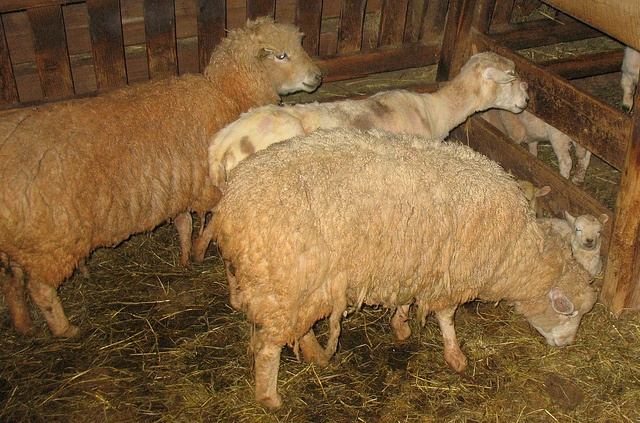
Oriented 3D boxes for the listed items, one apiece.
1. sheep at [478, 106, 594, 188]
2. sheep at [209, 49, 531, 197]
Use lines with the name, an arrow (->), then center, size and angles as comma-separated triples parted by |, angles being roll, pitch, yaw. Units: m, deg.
sheep -> 2.730, -1.172, 7.606 | 0.503, 1.333, 1.593 | -15, 28, -22
sheep -> 0.521, -0.891, 6.017 | 2.718, 1.518, 0.759 | -8, 41, -8
